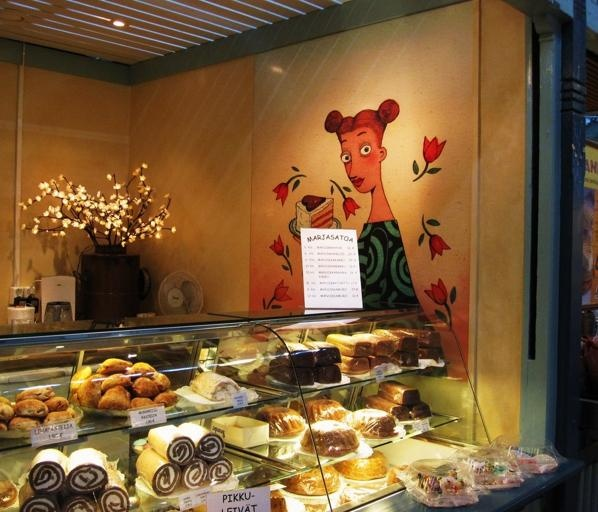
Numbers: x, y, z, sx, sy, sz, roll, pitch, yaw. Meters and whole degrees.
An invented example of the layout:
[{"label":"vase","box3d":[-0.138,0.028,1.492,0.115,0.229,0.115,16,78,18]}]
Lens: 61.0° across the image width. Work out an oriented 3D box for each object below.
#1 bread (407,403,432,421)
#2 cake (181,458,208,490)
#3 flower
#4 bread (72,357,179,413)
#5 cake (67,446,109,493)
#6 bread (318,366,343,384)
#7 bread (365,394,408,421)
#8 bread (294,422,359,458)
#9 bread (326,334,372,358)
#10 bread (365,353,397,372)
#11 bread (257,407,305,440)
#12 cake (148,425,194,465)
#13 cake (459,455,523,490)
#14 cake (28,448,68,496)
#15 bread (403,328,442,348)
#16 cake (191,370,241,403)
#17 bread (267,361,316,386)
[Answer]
[{"label":"bread","box3d":[0.584,0.739,2.420,0.069,0.070,0.101,-4,-4,-1]},{"label":"cake","box3d":[-0.367,0.760,1.789,0.030,0.092,0.090,2,5,45]},{"label":"flower","box3d":[-1.861,-0.413,4.740,1.173,0.677,0.752,2,4,-12]},{"label":"bread","box3d":[-0.610,0.449,1.732,0.211,0.082,0.198,7,0,-21]},{"label":"cake","box3d":[-0.675,0.694,1.645,0.123,0.124,0.120,6,13,-20]},{"label":"bread","box3d":[0.139,0.505,2.176,0.082,0.059,0.083,1,-5,-24]},{"label":"bread","box3d":[0.408,0.704,2.353,0.216,0.075,0.111,16,8,43]},{"label":"bread","box3d":[0.120,0.754,2.087,0.169,0.081,0.161,-1,1,-7]},{"label":"bread","box3d":[0.236,0.411,2.305,0.117,0.076,0.160,-2,3,-22]},{"label":"bread","box3d":[0.381,0.503,2.395,0.116,0.078,0.085,2,-8,-28]},{"label":"bread","box3d":[-0.074,0.657,2.037,0.158,0.075,0.133,7,3,-31]},{"label":"cake","box3d":[-0.442,0.645,1.765,0.121,0.109,0.173,0,5,-31]},{"label":"cake","box3d":[0.864,0.963,2.249,0.151,0.048,0.151,-3,9,-16]},{"label":"cake","box3d":[-0.773,0.674,1.599,0.115,0.129,0.145,4,12,-19]},{"label":"bread","box3d":[0.616,0.403,2.569,0.175,0.101,0.123,2,-3,-21]},{"label":"cake","box3d":[-0.310,0.489,1.884,0.128,0.049,0.112,14,11,41]},{"label":"bread","box3d":[-0.026,0.468,2.047,0.120,0.051,0.125,0,-3,5]}]
